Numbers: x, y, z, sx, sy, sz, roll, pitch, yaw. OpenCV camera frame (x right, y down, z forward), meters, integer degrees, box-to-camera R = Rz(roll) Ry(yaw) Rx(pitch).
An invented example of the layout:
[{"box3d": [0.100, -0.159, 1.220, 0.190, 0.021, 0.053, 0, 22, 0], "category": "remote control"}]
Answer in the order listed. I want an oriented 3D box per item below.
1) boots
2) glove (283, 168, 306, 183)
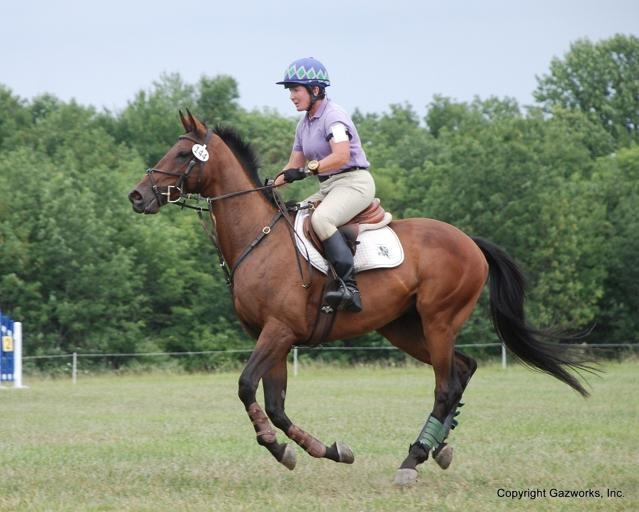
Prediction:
[{"box3d": [0.302, 0.209, 15.891, 0.536, 1.151, 0.364, 0, 6, -4], "category": "boots"}, {"box3d": [-0.387, -1.184, 16.125, 0.242, 0.218, 0.452, -2, 7, -21], "category": "glove"}]
